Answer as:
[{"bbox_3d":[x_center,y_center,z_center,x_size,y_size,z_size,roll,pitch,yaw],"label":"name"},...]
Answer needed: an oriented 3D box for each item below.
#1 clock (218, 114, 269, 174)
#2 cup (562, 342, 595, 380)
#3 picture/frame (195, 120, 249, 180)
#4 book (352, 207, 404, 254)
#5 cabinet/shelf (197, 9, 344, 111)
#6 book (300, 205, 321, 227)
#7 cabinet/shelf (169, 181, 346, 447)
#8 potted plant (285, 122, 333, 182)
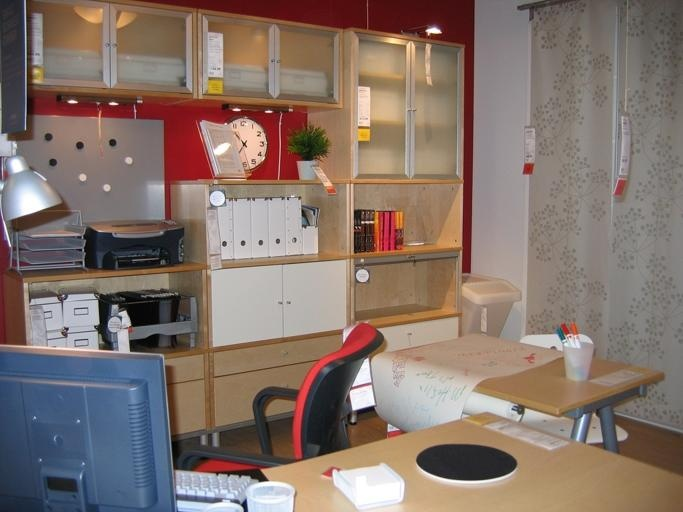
[{"bbox_3d":[-0.763,-0.863,4.112,0.461,0.561,0.070,-9,11,-36],"label":"clock"},{"bbox_3d":[1.044,0.455,2.424,0.145,0.171,0.151,0,-2,0],"label":"cup"},{"bbox_3d":[-0.834,-0.749,3.847,0.291,0.398,0.250,7,9,43],"label":"picture/frame"},{"bbox_3d":[0.285,-0.199,4.398,0.372,0.329,0.142,1,-2,-40],"label":"book"},{"bbox_3d":[-0.548,-1.406,3.998,1.035,0.548,0.285,-5,17,-29],"label":"cabinet/shelf"},{"bbox_3d":[-0.248,-0.310,4.187,0.139,0.138,0.174,-8,8,-16],"label":"book"},{"bbox_3d":[-0.511,0.294,4.110,1.065,1.665,0.466,-3,3,-21],"label":"cabinet/shelf"},{"bbox_3d":[-0.247,-0.809,4.253,0.310,0.436,0.402,1,7,2],"label":"potted plant"}]
